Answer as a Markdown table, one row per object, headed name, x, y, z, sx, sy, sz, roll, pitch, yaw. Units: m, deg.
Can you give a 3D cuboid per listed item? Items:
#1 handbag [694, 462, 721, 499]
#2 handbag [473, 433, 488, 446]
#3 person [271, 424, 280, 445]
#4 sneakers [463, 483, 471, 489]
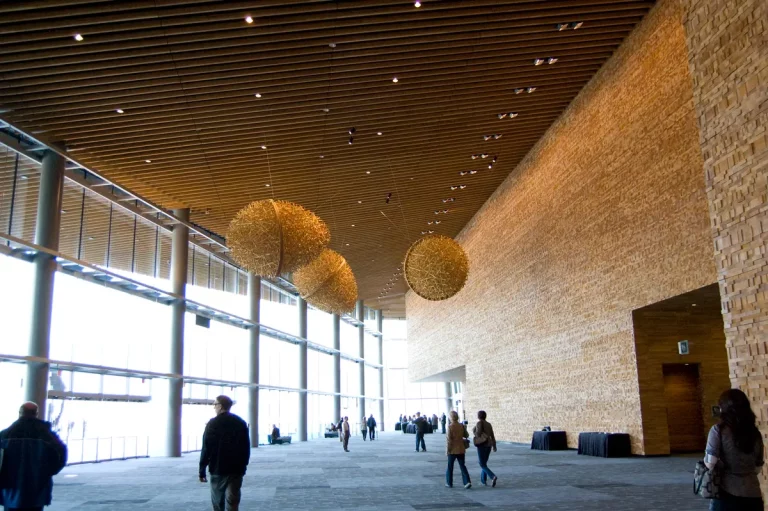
| name | x | y | z | sx | sy | sz | roll | pitch | yaw |
| --- | --- | --- | --- | --- | --- | --- | --- | --- | --- |
| handbag | 3.266 | 2.222 | 5.503 | 0.221 | 0.329 | 0.275 | -2 | -6 | 25 |
| handbag | 1.960 | 3.713 | 11.012 | 0.372 | 0.169 | 0.333 | -3 | -33 | 9 |
| person | -5.811 | 9.597 | 29.150 | 0.440 | 0.868 | 0.627 | -2 | -14 | -10 |
| sneakers | 1.682 | 4.657 | 10.997 | 0.087 | 0.095 | 0.208 | 7 | -37 | -11 |
